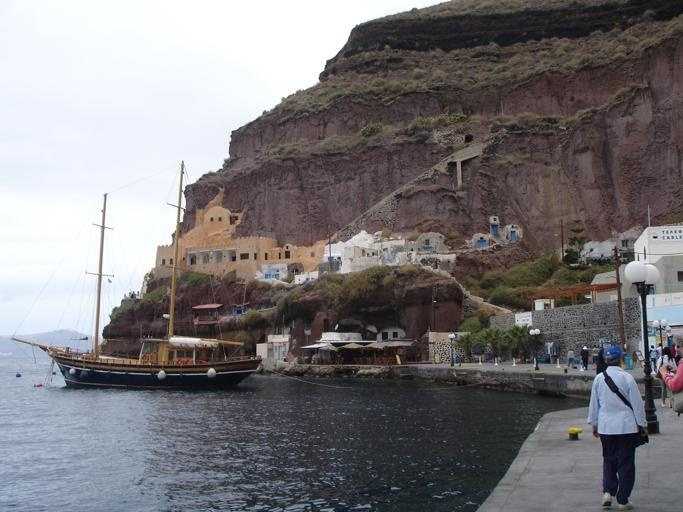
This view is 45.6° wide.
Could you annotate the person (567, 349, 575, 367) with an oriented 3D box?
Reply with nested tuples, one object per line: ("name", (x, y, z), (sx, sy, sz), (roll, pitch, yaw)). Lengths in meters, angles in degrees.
("person", (14.482, 6.483, 51.041), (0.341, 1.017, 2.181), (-3, -10, 13))

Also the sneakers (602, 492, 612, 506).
("sneakers", (7.817, 7.120, 23.795), (0.284, 0.425, 0.201), (-2, -10, 5))

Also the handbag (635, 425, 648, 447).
("handbag", (8.849, 5.257, 23.852), (0.512, 0.556, 0.272), (7, -12, -38))
